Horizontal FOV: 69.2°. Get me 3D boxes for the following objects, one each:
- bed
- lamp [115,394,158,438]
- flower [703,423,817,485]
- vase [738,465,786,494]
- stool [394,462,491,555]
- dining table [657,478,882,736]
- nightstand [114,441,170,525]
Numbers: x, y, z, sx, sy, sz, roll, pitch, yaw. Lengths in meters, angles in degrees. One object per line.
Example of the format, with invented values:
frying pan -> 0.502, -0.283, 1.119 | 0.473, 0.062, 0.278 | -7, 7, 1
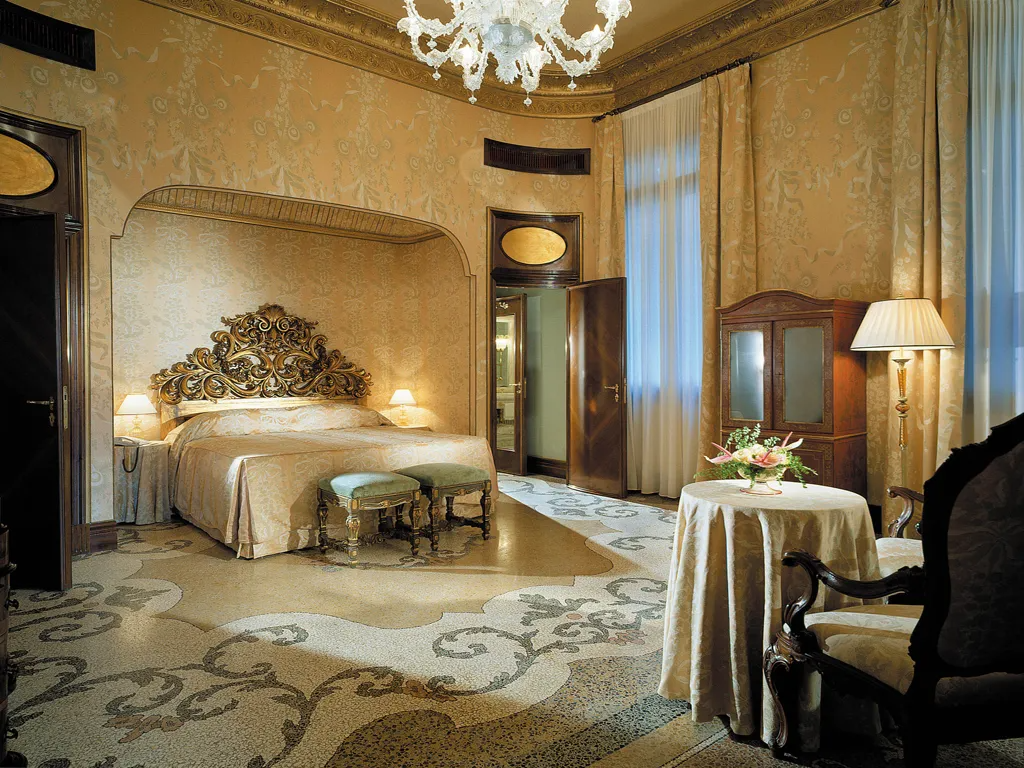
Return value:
bed -> -1.849, 0.384, 6.755 | 2.617, 1.960, 2.483 | 0, -1, -44
lamp -> -3.420, 0.305, 6.796 | 0.352, 0.423, 0.408 | -3, 8, -25
flower -> 1.596, 0.430, 4.648 | 0.660, 0.411, 0.647 | 2, 6, 29
vase -> 1.218, 0.475, 3.676 | 0.170, 0.095, 0.160 | 0, -2, -11
stool -> -0.539, 0.958, 5.966 | 0.720, 0.509, 0.700 | -5, -4, 31
dining table -> 1.216, 1.044, 3.743 | 1.113, 0.967, 1.087 | 0, 1, 22
nightstand -> -3.159, 0.849, 6.406 | 0.429, 0.686, 0.237 | -3, 8, -24
